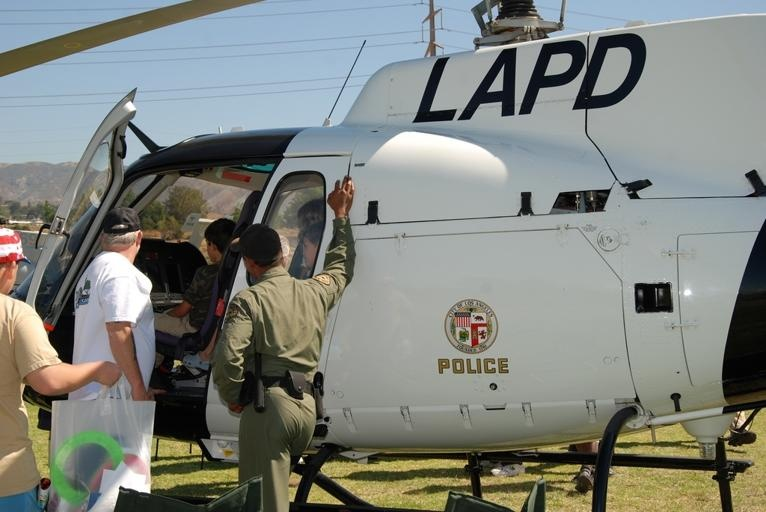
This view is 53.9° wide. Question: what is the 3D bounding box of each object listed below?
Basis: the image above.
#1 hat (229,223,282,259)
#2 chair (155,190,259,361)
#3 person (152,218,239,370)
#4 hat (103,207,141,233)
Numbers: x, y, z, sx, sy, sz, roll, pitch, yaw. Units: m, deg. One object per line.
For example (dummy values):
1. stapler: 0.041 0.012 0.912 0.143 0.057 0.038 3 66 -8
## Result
1. hat: -0.835 -0.073 4.993 0.194 0.147 0.274 -25 41 -34
2. chair: -1.462 0.275 6.084 0.866 1.594 0.644 6 10 10
3. person: -1.610 0.192 6.204 0.920 1.129 0.812 -1 6 -2
4. hat: -1.784 -0.245 5.156 0.160 0.124 0.210 -13 22 -37
